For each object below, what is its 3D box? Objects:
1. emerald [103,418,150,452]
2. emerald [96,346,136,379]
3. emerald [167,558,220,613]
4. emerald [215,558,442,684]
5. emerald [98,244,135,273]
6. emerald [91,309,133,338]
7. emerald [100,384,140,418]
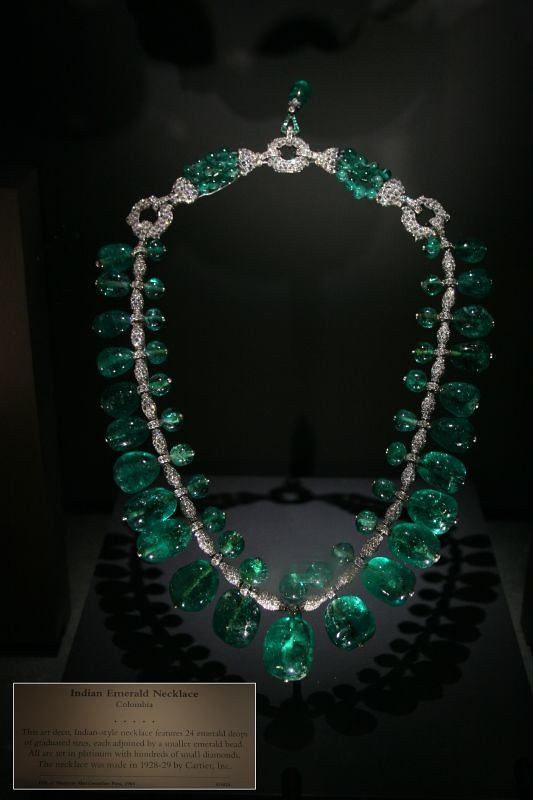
[{"bbox_3d":[-0.204,0.050,1.099,0.062,0.033,0.043,-17,-92,-13],"label":"emerald"},{"bbox_3d":[-0.223,-0.054,1.116,0.048,0.044,0.049,0,-46,-1],"label":"emerald"},{"bbox_3d":[-0.095,0.252,1.031,0.066,0.079,0.026,30,-37,-3],"label":"emerald"},{"bbox_3d":[0.087,0.274,1.037,0.219,0.211,0.049,15,-51,15],"label":"emerald"},{"bbox_3d":[-0.220,-0.220,1.139,0.053,0.038,0.036,-20,-54,-30],"label":"emerald"},{"bbox_3d":[-0.228,-0.115,1.107,0.036,0.052,0.014,47,-55,6],"label":"emerald"},{"bbox_3d":[-0.214,-0.003,1.102,0.045,0.058,0.041,-16,-73,13],"label":"emerald"}]
